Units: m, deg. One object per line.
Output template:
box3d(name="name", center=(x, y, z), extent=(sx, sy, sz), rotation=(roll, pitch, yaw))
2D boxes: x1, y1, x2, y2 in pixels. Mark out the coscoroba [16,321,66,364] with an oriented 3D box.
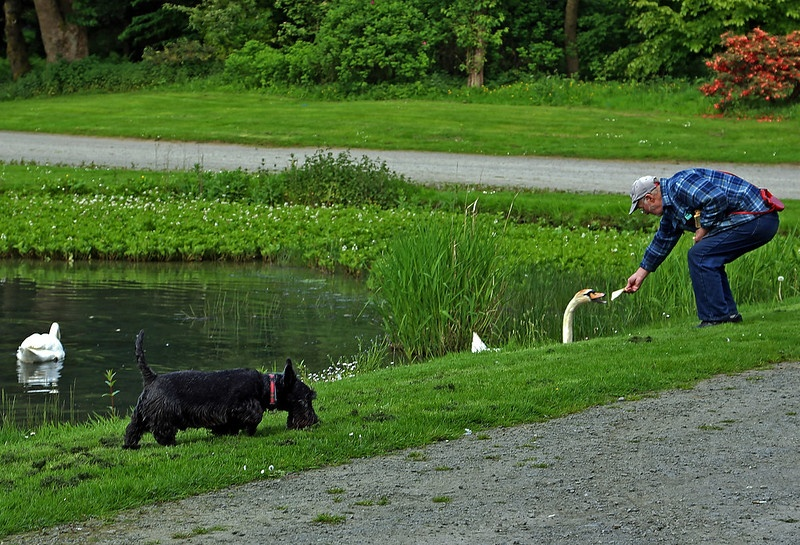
box3d(name="coscoroba", center=(-8.069, 1.594, 34.709), extent=(0.945, 0.961, 1.507), rotation=(4, 1, 9))
